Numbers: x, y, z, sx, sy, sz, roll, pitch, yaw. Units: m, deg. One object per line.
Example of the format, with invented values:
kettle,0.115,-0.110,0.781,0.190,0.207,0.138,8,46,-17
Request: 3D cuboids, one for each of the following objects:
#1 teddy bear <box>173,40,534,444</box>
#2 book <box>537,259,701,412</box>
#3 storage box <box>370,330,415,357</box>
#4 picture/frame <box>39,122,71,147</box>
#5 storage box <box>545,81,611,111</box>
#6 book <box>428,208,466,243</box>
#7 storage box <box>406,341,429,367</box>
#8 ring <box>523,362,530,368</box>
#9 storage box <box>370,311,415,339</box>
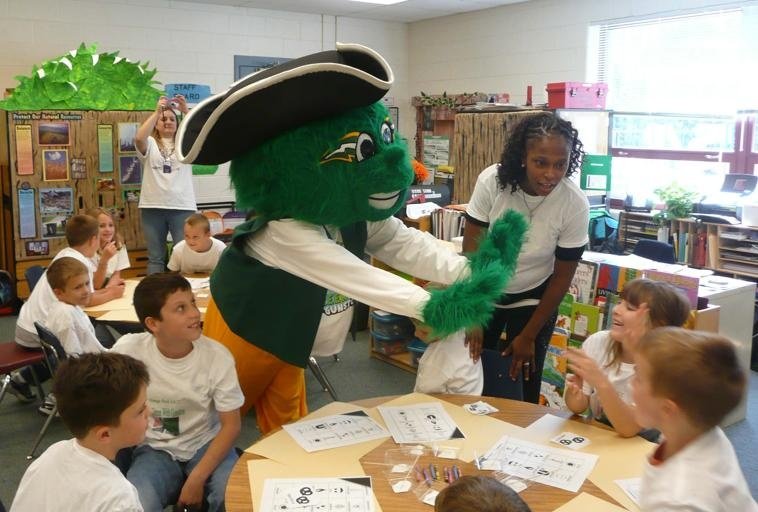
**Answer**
teddy bear,-0.193,0.090,2.922,1.561,2.076,1.177,19,21,8
book,1.162,0.427,2.826,0.207,0.808,0.571,11,12,5
storage box,0.119,0.795,5.177,0.301,0.129,0.211,-4,8,-26
picture/frame,-3.570,-1.339,6.176,0.273,0.229,0.020,-6,8,-36
storage box,1.810,-1.462,5.179,0.577,0.228,0.174,-4,14,-20
book,0.633,-0.301,5.284,0.305,0.357,0.293,-7,21,-23
storage box,0.325,0.836,4.932,0.199,0.125,0.293,4,9,11
ring,0.821,0.614,3.144,0.031,0.030,0.031,0,7,0
storage box,0.130,0.616,5.153,0.325,0.159,0.229,-2,8,-23
